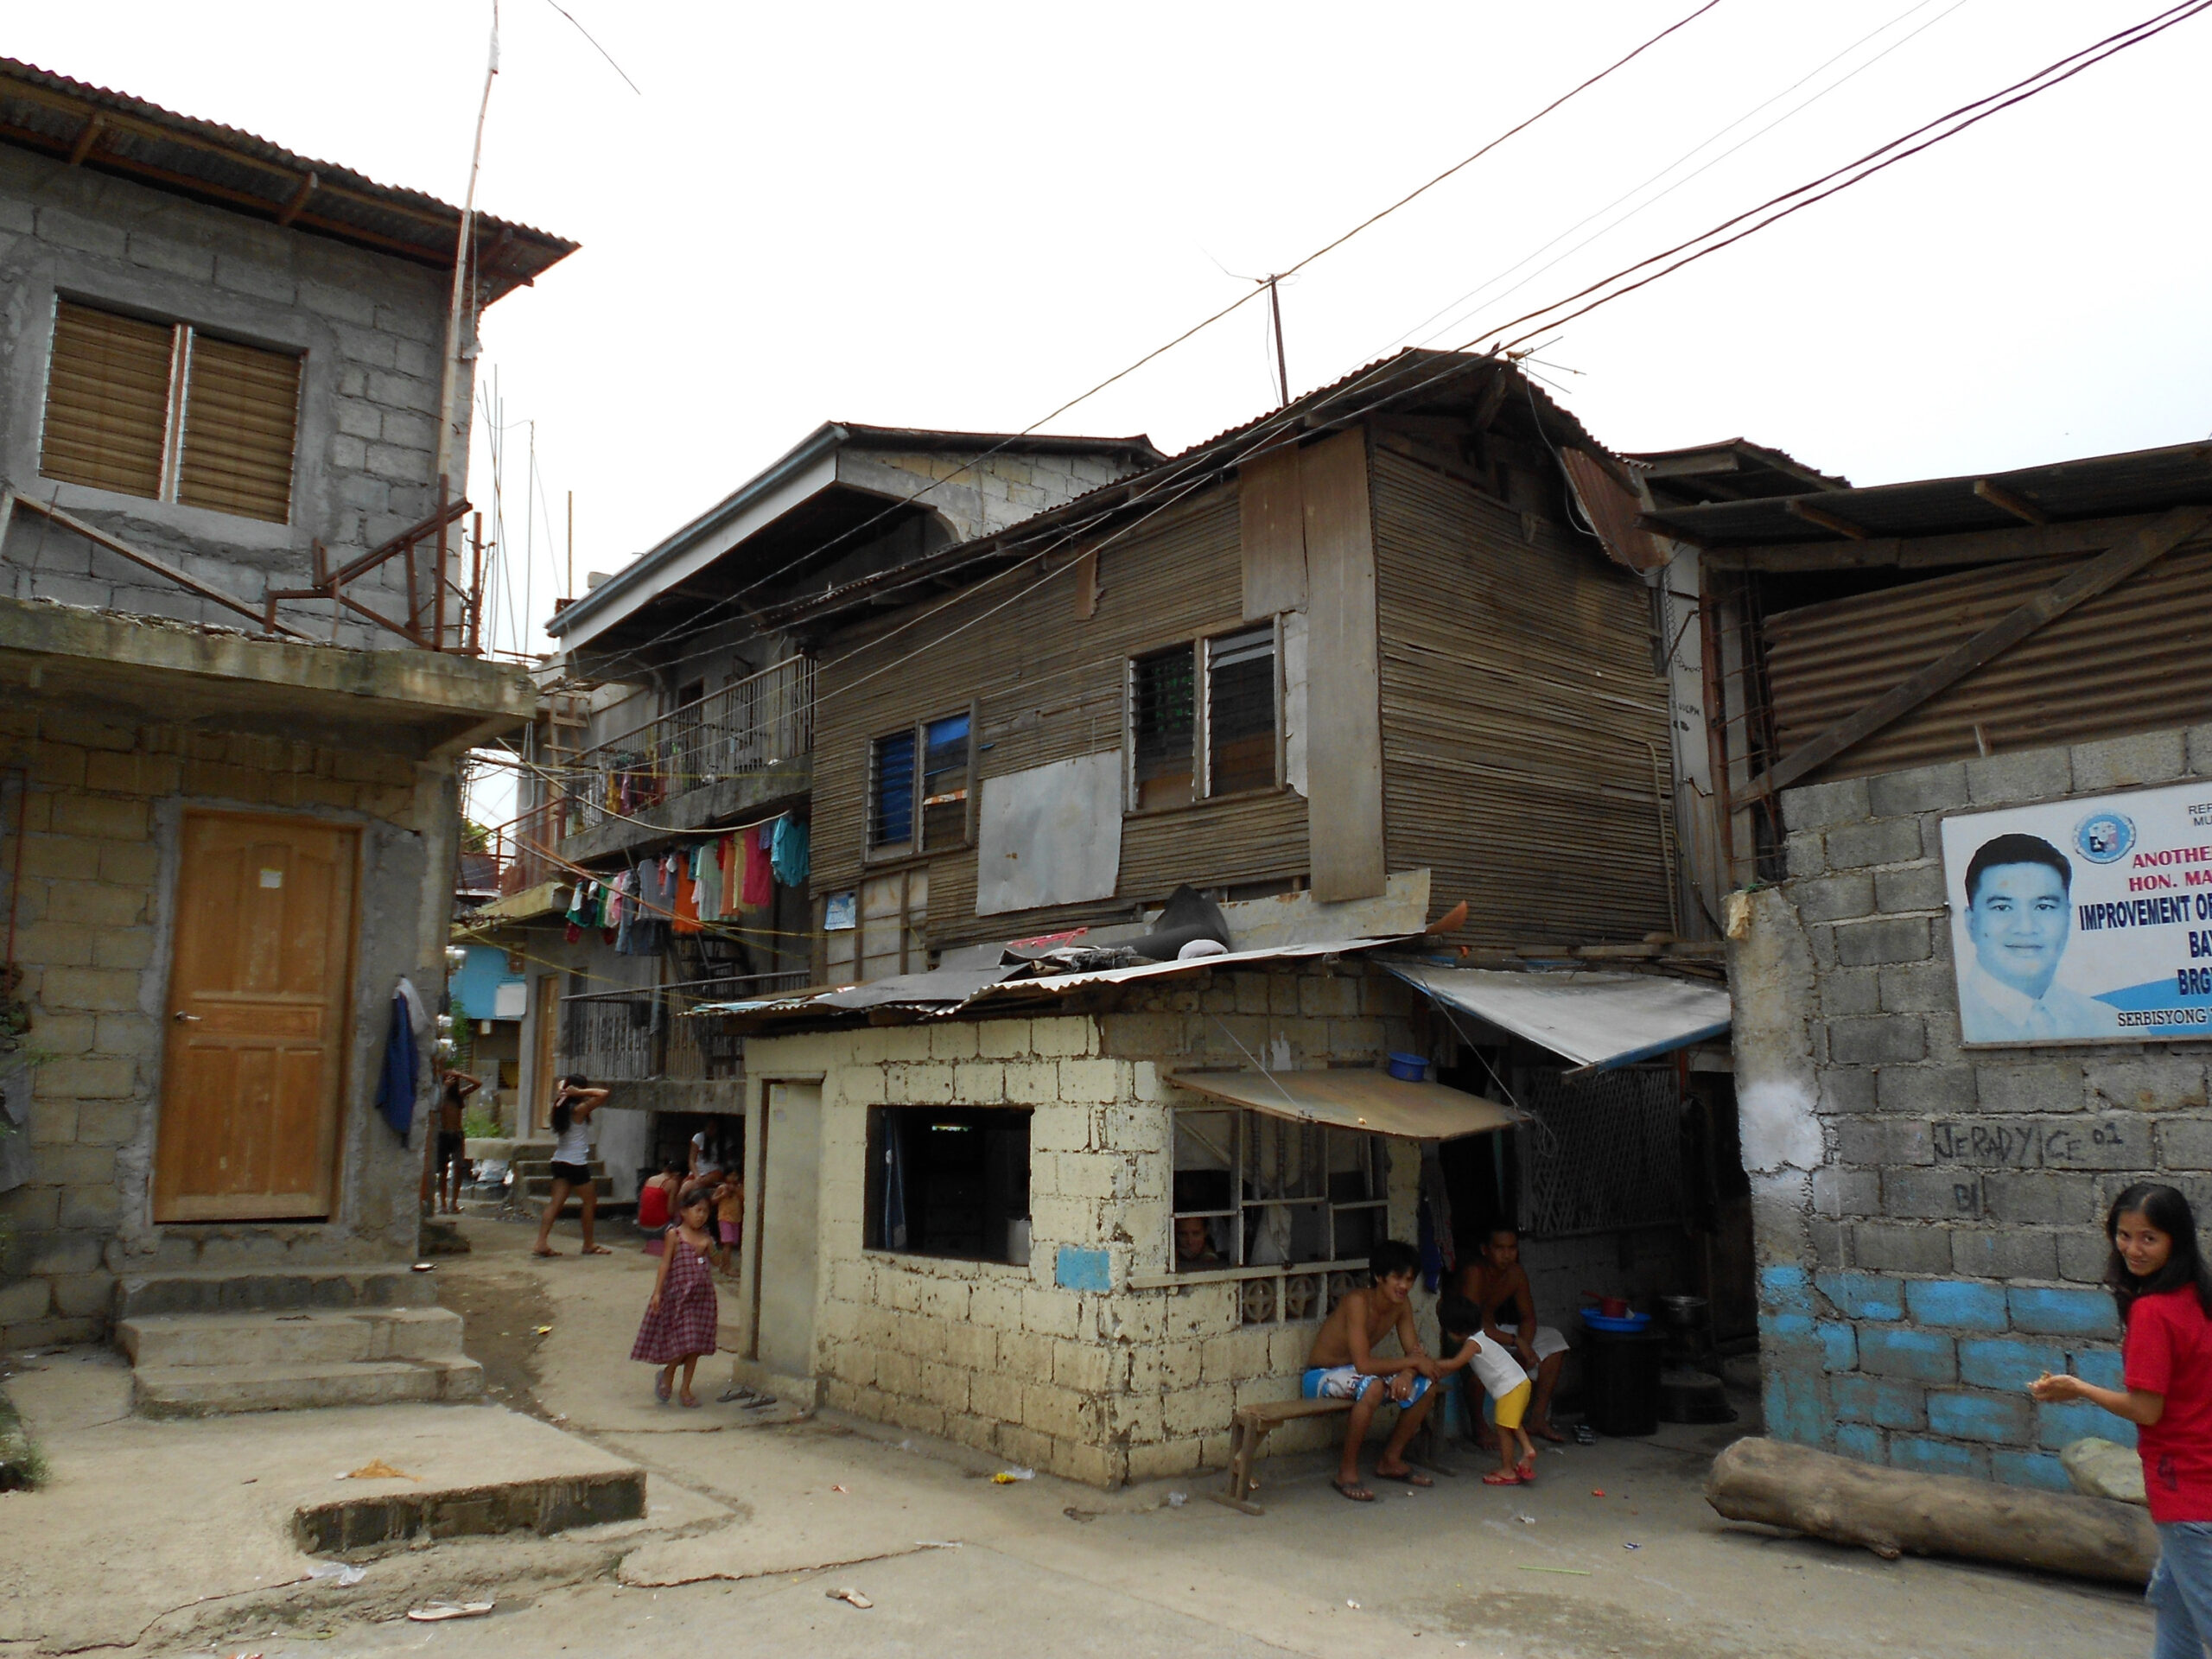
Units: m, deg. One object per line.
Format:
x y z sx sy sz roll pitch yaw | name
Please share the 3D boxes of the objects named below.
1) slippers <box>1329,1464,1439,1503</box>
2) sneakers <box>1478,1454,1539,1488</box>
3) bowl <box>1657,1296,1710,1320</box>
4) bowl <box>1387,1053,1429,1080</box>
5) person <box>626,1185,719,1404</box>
1.888 4.496 12.960 0.522 0.143 0.296 -1 -11 -3 | slippers
2.814 4.493 13.083 0.327 0.271 0.165 24 -40 -25 | sneakers
4.568 3.779 14.815 0.422 0.154 0.350 1 -13 6 | bowl
2.336 1.829 14.535 0.344 0.176 0.621 6 2 9 | bowl
-3.349 3.670 14.794 0.593 1.251 0.961 7 2 -7 | person
